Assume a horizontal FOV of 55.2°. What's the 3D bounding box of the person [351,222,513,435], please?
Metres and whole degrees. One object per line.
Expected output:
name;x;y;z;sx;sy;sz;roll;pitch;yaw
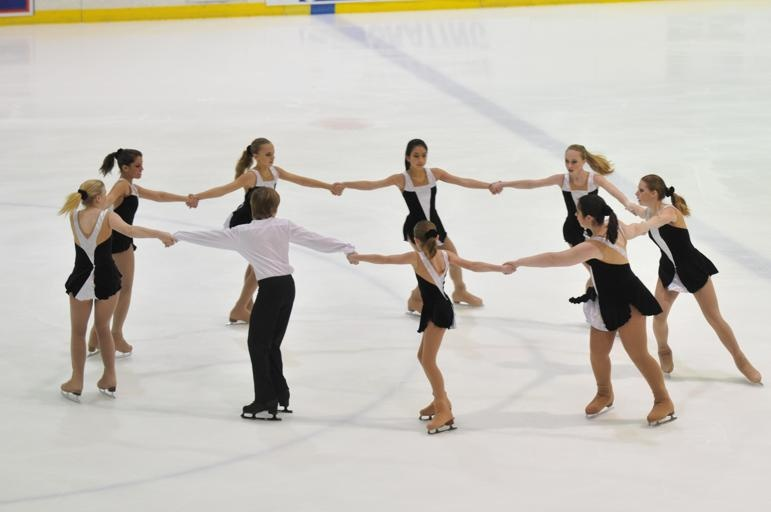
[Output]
person;0.359;0.589;6.494;0.893;1.793;0.716;0;15;6

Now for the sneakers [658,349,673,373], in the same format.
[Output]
sneakers;2.751;1.018;7.264;0.092;0.254;0.183;-2;-3;24

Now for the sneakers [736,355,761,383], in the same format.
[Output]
sneakers;3.481;1.080;7.038;0.256;0.230;0.189;2;15;14

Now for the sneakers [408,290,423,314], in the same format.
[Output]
sneakers;0.361;0.540;8.548;0.153;0.267;0.123;24;21;38

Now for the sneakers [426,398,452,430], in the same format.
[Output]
sneakers;0.484;1.378;6.405;0.247;0.289;0.122;-3;15;-9

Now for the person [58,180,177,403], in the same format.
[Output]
person;-2.688;0.284;6.956;0.985;1.994;0.784;-14;19;-40
